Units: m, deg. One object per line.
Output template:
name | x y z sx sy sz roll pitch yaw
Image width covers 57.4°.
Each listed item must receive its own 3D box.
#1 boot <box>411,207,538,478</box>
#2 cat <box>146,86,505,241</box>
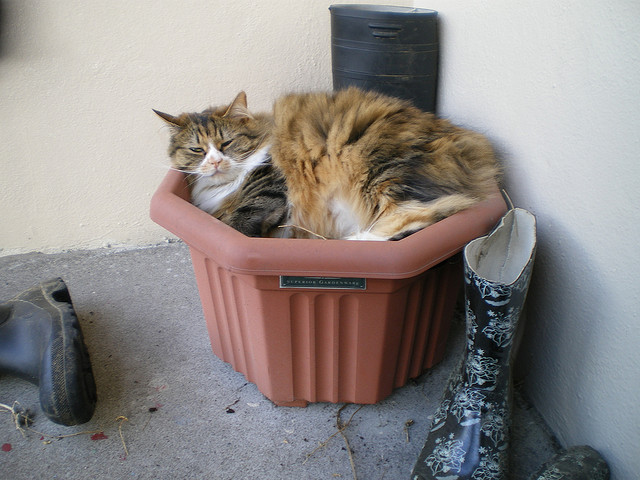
boot | 0.364 0.224 1.246 0.186 0.513 0.402 13 31 20
cat | 0.037 -0.200 1.571 0.920 0.301 0.442 3 -5 -1
